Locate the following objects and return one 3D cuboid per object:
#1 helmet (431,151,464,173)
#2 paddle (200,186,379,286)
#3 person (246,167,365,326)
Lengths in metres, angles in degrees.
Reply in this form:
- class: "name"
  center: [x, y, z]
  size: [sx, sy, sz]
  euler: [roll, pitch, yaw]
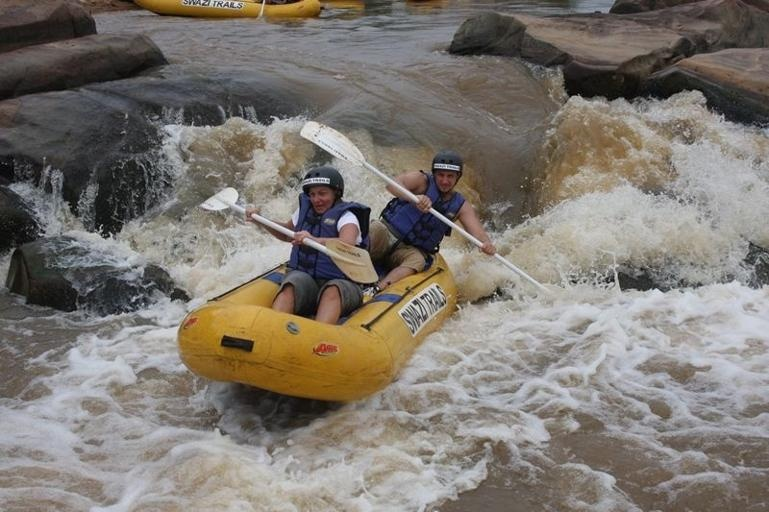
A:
- class: "helmet"
  center: [0.767, -1.137, 10.910]
  size: [0.340, 0.234, 0.271]
  euler: [6, 57, -2]
- class: "paddle"
  center: [-1.188, -0.192, 10.796]
  size: [2.486, 0.162, 0.510]
  euler: [25, 50, 31]
- class: "person"
  center: [-0.785, -0.057, 10.021]
  size: [1.213, 1.917, 1.250]
  euler: [-2, 10, -35]
